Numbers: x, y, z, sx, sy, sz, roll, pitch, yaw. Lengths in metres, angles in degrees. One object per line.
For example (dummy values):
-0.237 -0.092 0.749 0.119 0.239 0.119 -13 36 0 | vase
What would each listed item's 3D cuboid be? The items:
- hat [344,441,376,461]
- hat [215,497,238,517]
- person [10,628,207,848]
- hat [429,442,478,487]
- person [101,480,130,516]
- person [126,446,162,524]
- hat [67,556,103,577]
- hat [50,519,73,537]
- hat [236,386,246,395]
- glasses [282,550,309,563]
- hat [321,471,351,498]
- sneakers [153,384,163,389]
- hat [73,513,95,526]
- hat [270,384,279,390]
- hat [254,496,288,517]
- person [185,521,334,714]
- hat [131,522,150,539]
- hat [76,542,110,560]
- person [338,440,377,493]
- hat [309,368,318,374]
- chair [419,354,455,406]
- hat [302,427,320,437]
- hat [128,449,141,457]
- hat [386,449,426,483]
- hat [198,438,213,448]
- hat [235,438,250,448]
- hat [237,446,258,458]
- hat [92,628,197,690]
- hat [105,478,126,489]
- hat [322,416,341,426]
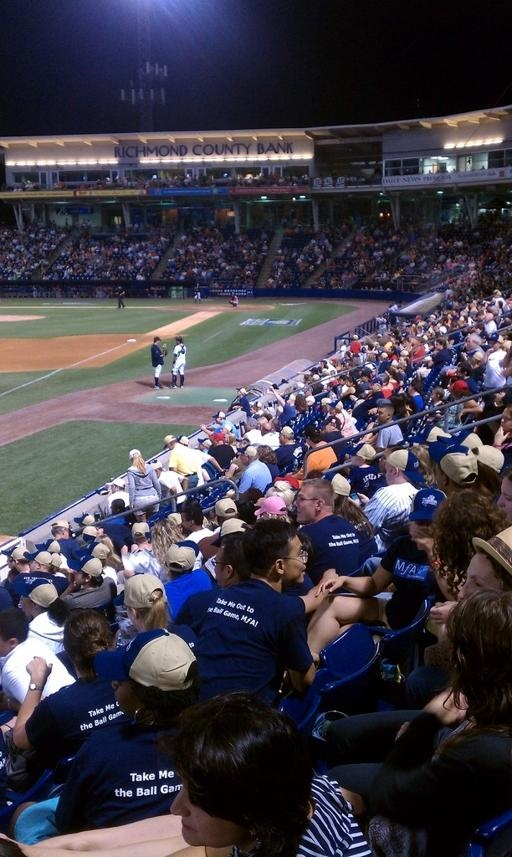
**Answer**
1.411 0.307 8.829 0.190 0.151 0.289 -4 16 -43 | hat
-0.347 0.893 7.378 0.164 0.236 0.241 -3 -15 -9 | hat
-0.633 1.408 2.984 0.617 1.056 0.863 4 1 -35 | person
1.415 0.241 4.772 0.212 0.180 0.324 -9 45 -9 | hat
-2.656 1.360 12.544 0.518 0.430 0.829 -3 22 -23 | person
-2.097 1.312 12.431 0.617 1.835 0.590 -8 10 -18 | person
-1.783 1.454 6.899 0.305 0.155 0.195 15 24 5 | hat
-3.001 1.547 10.209 0.340 0.246 0.549 4 -8 3 | hat
-0.434 -1.003 18.679 0.200 0.129 0.281 -13 26 9 | hat
0.263 0.833 4.354 0.194 0.058 0.189 -2 -6 11 | glasses
0.784 0.557 6.575 0.246 0.134 0.347 8 22 6 | hat
-3.894 -1.615 26.145 0.419 0.180 0.141 3 16 18 | sneakers
-3.174 1.667 12.135 0.336 0.171 0.218 7 17 22 | hat
0.536 -1.244 19.950 0.176 0.225 0.193 1 -10 -44 | hat
0.140 0.743 6.098 0.186 0.146 0.266 -2 7 -22 | hat
0.064 1.069 3.757 0.541 1.193 0.703 19 21 28 | person
-1.440 1.327 8.578 0.231 0.163 0.371 3 -2 5 | hat
-1.955 1.456 7.859 0.349 0.136 0.230 3 9 16 | hat
1.351 0.521 8.828 0.455 0.829 0.473 3 38 -13 | person
1.721 -1.726 20.170 0.185 0.206 0.366 9 -21 5 | hat
3.888 -1.021 14.295 0.488 0.645 1.604 5 53 31 | chair
0.907 0.065 10.785 0.245 0.180 0.306 -3 8 7 | hat
-2.593 0.523 14.061 0.267 0.136 0.371 -3 3 -11 | hat
1.465 0.359 6.449 0.377 0.220 0.247 38 20 14 | hat
-1.158 0.347 15.031 0.192 0.164 0.299 -12 41 -43 | hat
-0.311 0.323 14.704 0.213 0.245 0.269 0 27 -2 | hat
-0.131 0.426 11.406 0.164 0.134 0.261 -6 19 -40 | hat
-0.457 0.964 2.732 0.330 0.182 0.214 16 12 6 | hat
-2.767 1.105 12.827 0.355 0.192 0.250 3 5 5 | hat
1.424 -0.124 12.505 0.245 0.247 0.176 -2 -3 13 | hat
